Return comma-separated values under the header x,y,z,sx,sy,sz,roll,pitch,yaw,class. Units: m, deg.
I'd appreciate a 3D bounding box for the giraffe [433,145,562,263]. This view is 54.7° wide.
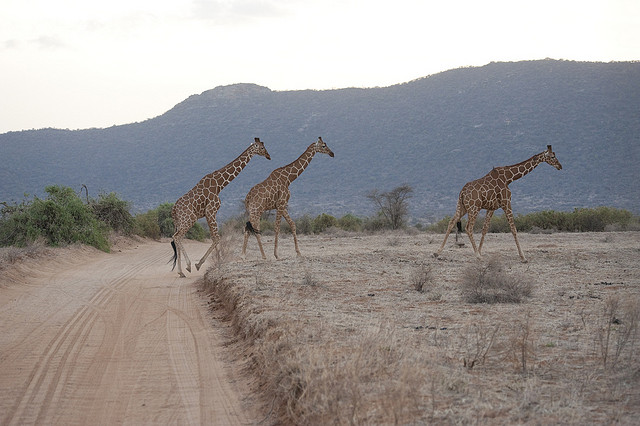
x,y,z,sx,sy,sz,roll,pitch,yaw,class
6.882,-0.290,24.068,3.381,3.927,4.046,0,5,24,giraffe

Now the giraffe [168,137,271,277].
x,y,z,sx,sy,sz,roll,pitch,yaw,class
-3.857,0.071,22.341,1.055,4.219,2.920,2,6,45,giraffe
